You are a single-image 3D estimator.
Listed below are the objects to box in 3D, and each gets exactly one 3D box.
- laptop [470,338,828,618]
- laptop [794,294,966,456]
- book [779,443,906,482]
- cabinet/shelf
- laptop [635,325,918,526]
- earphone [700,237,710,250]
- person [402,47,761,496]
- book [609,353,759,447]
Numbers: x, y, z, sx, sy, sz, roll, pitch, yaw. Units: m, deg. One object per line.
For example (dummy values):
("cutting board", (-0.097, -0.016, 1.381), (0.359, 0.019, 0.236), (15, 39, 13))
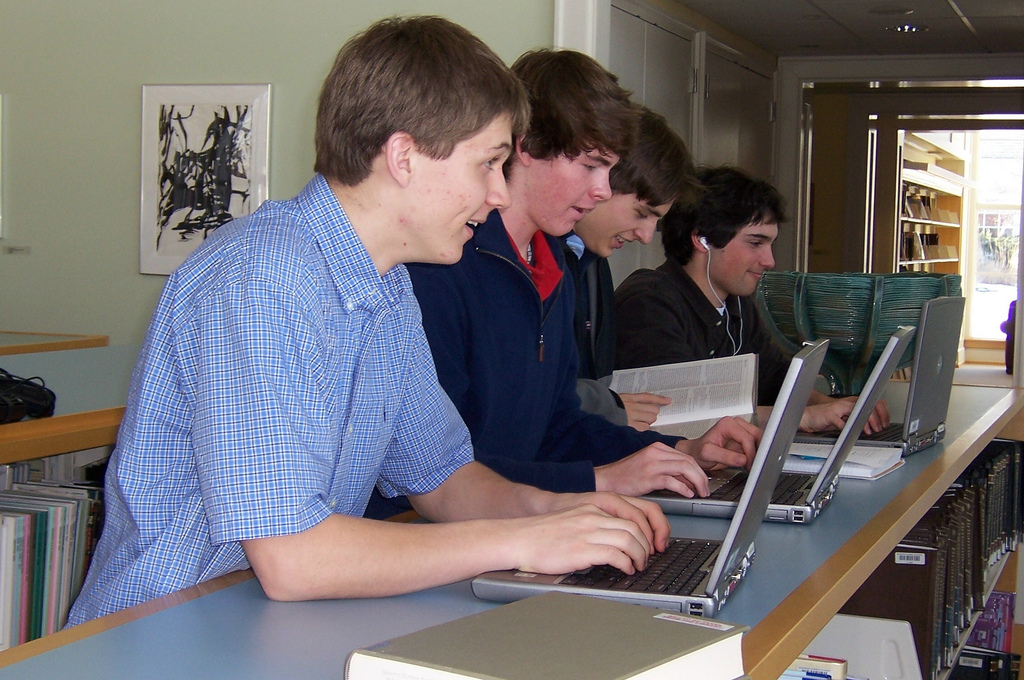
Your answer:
("laptop", (0.195, 0.174, 1.293), (0.296, 0.443, 0.492), (21, 12, 19))
("laptop", (0.995, 0.071, 2.358), (0.387, 0.463, 0.549), (6, 4, 36))
("book", (0.769, 0.289, 1.849), (0.149, 0.023, 0.164), (1, 11, 26))
("cabinet/shelf", (6.547, -2.195, 12.747), (2.204, 2.072, 0.711), (0, 2, -39))
("laptop", (0.552, 0.132, 1.701), (0.283, 0.451, 0.476), (17, 13, 26))
("earphone", (0.752, -0.384, 3.102), (0.013, 0.046, 0.033), (-32, -12, 27))
("person", (0.092, -0.201, 2.222), (1.103, 1.253, 0.788), (2, 11, 16))
("book", (0.557, 0.188, 2.396), (0.437, 0.089, 0.451), (-23, 23, -13))
